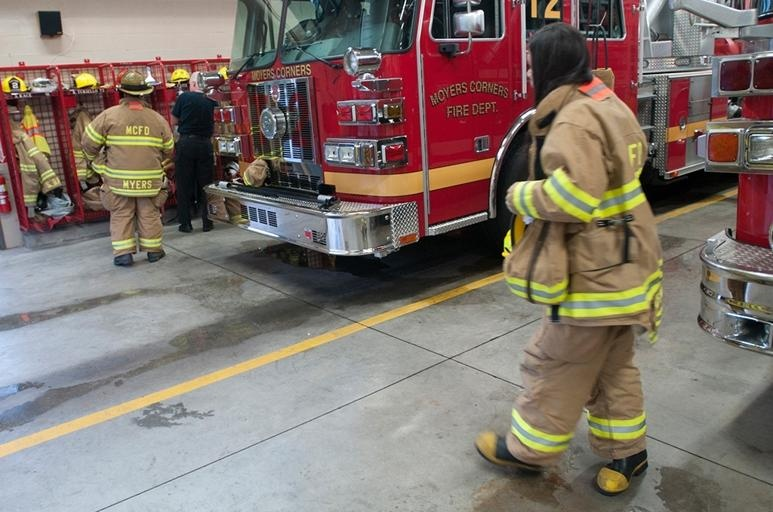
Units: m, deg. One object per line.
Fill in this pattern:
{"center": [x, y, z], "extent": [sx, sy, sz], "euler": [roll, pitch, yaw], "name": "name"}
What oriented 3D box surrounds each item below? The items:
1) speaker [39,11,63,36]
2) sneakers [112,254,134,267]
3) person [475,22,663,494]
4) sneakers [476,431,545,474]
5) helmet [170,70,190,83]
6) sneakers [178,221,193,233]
{"center": [-6.258, -4.320, 9.021], "extent": [0.170, 0.462, 0.462], "euler": [19, 25, 35], "name": "speaker"}
{"center": [-3.623, 0.049, 6.709], "extent": [0.296, 0.121, 0.136], "euler": [10, 18, 32], "name": "sneakers"}
{"center": [1.018, 0.111, 2.528], "extent": [0.844, 2.442, 0.555], "euler": [4, 21, 20], "name": "person"}
{"center": [0.688, 1.165, 2.891], "extent": [0.461, 0.142, 0.187], "euler": [12, 14, 6], "name": "sneakers"}
{"center": [-3.900, -3.409, 9.192], "extent": [0.289, 0.223, 0.406], "euler": [-13, 28, -11], "name": "helmet"}
{"center": [-3.339, -0.490, 8.105], "extent": [0.263, 0.163, 0.112], "euler": [27, 34, 38], "name": "sneakers"}
